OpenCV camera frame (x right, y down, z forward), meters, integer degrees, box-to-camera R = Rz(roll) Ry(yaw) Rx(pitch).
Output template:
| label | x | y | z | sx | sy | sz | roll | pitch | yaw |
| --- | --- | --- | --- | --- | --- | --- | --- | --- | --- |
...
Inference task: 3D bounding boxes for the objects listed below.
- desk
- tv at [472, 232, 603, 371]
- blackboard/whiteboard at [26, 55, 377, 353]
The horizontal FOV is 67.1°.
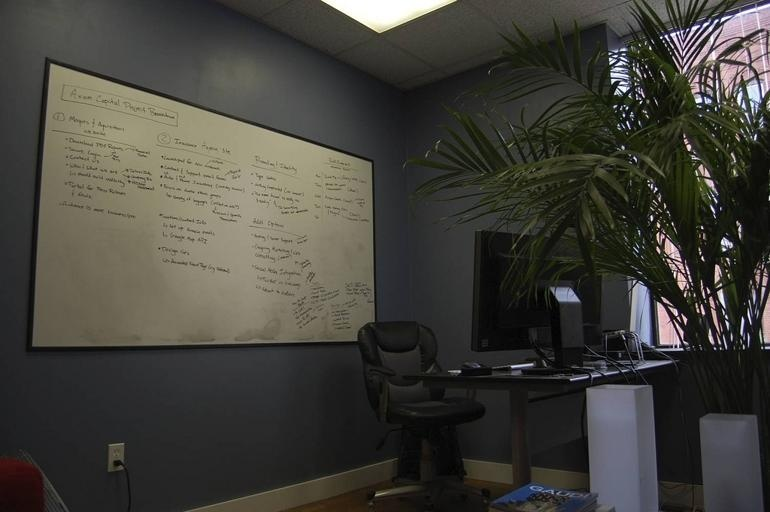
| label | x | y | z | sx | sy | sz | roll | pitch | yaw |
| --- | --- | --- | --- | --- | --- | --- | --- | --- | --- |
| desk | 0.946 | 0.922 | 3.221 | 1.265 | 0.593 | 0.749 | 4 | -9 | -30 |
| tv | 0.793 | 0.228 | 3.025 | 0.777 | 0.665 | 0.249 | 5 | -4 | -33 |
| blackboard/whiteboard | -1.280 | -0.328 | 3.897 | 2.407 | 1.484 | 0.041 | 1 | -4 | -42 |
